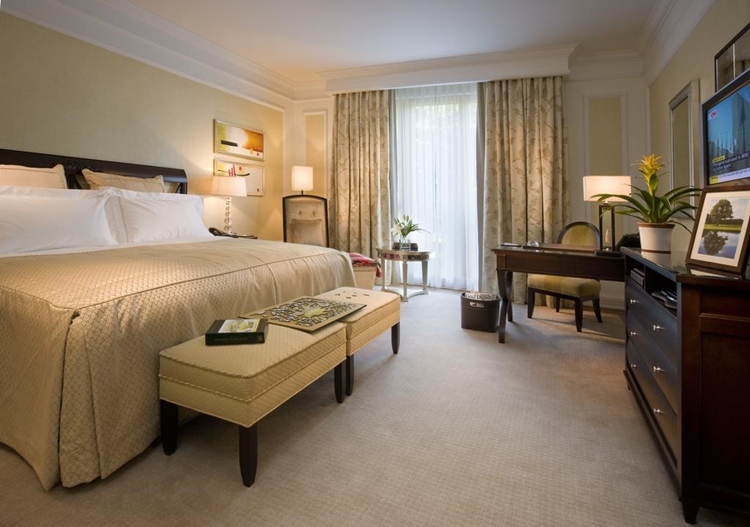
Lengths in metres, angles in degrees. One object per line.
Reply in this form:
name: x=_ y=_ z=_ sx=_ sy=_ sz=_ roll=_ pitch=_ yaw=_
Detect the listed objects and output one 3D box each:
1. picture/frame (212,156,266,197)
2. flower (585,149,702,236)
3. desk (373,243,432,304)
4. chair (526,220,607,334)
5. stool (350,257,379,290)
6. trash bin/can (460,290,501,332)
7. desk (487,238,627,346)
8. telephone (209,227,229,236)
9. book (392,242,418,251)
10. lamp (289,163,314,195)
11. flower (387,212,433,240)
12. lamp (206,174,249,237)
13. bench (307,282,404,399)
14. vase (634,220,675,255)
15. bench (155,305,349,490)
picture/frame: x=-1.685 y=-1.065 z=5.974 sx=0.021 sy=0.344 sz=0.613 roll=4 pitch=4 yaw=24
flower: x=1.901 y=-0.522 z=3.366 sx=0.623 sy=0.414 sz=0.700 roll=-10 pitch=16 yaw=1
desk: x=0.403 y=0.055 z=6.171 sx=0.570 sy=0.692 sz=0.887 roll=0 pitch=1 yaw=-44
chair: x=1.918 y=0.080 z=4.857 sx=0.641 sy=1.023 sz=0.674 roll=-1 pitch=7 yaw=-13
stool: x=-0.113 y=0.101 z=5.432 sx=0.279 sy=0.285 sz=0.389 roll=1 pitch=1 yaw=3
trash bin/can: x=1.021 y=0.467 z=4.781 sx=0.354 sy=0.306 sz=0.237 roll=6 pitch=14 yaw=28
desk: x=1.464 y=0.234 z=4.361 sx=0.863 sy=0.679 sz=0.586 roll=2 pitch=5 yaw=7
telephone: x=-1.797 y=-0.361 z=5.598 sx=0.253 sy=0.105 sz=0.094 roll=-2 pitch=11 yaw=-9
book: x=0.368 y=-0.209 z=6.000 sx=0.291 sy=0.095 sz=0.189 roll=1 pitch=11 yaw=1
lamp: x=-0.985 y=-1.131 z=6.505 sx=0.317 sy=0.354 sz=0.339 roll=-1 pitch=10 yaw=-16
flower: x=0.403 y=-0.456 z=6.292 sx=0.387 sy=0.251 sz=0.399 roll=0 pitch=-1 yaw=-7
lamp: x=-1.733 y=-0.694 z=5.790 sx=0.392 sy=0.648 sz=0.404 roll=2 pitch=6 yaw=-10
bench: x=-0.237 y=0.542 z=3.973 sx=0.632 sy=0.578 sz=0.879 roll=7 pitch=13 yaw=26
vase: x=1.787 y=-0.168 z=3.106 sx=0.201 sy=0.167 sz=0.210 roll=1 pitch=-3 yaw=18
bench: x=-0.772 y=0.765 z=3.373 sx=0.772 sy=0.640 sz=1.222 roll=6 pitch=11 yaw=26
